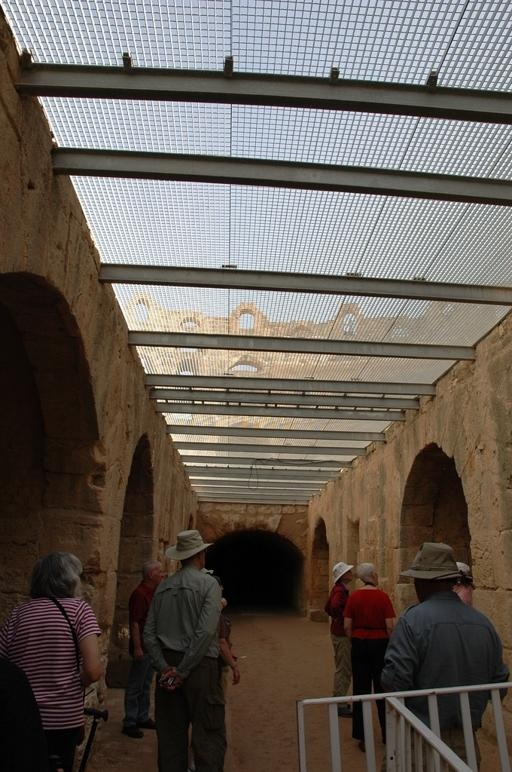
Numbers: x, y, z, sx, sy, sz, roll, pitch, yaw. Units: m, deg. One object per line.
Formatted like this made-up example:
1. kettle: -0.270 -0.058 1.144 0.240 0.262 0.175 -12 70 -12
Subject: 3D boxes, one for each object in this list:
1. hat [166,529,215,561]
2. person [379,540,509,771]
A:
1. hat: -0.338 0.832 3.044 0.184 0.095 0.217 -1 7 26
2. person: 0.692 0.965 2.094 0.463 0.761 0.356 -1 -20 12
